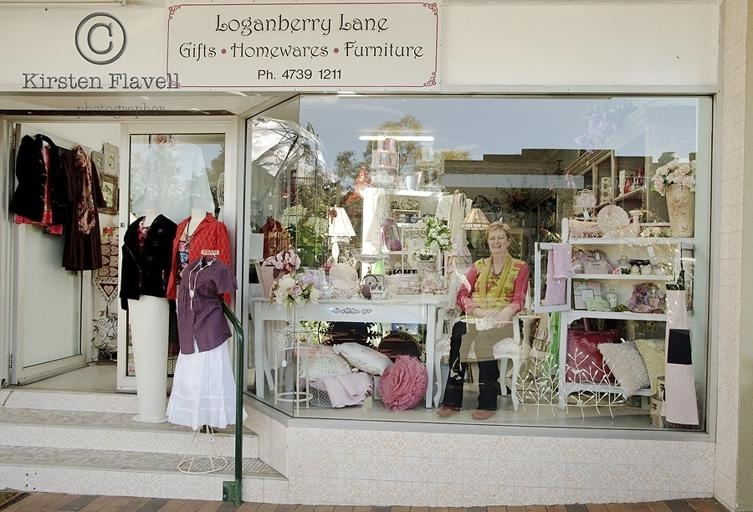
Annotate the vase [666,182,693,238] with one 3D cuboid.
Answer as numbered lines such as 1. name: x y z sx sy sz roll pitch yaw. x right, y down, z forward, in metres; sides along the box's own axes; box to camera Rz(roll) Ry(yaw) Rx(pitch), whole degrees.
1. vase: 2.718 -0.391 5.694 0.286 0.458 0.285 7 -10 -43

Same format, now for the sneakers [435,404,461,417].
1. sneakers: 0.629 1.366 5.575 0.209 0.091 0.079 3 -4 -14

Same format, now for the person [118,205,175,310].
1. person: -2.218 0.009 6.138 0.476 0.805 0.194 0 -1 12

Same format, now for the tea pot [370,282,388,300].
1. tea pot: 0.020 0.315 5.748 0.139 0.165 0.143 2 -3 0

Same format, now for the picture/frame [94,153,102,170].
1. picture/frame: -3.544 -1.223 8.015 0.061 0.225 0.288 1 0 -12

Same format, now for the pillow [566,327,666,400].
1. pillow: 2.123 0.954 5.668 0.647 0.652 0.200 2 0 14

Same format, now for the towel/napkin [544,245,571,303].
1. towel/napkin: 1.637 0.165 5.694 0.239 0.559 0.121 -1 6 -14

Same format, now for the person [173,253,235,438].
1. person: -1.531 0.735 5.581 0.566 1.483 0.290 1 -1 -18

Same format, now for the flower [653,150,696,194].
1. flower: 2.635 -0.719 5.593 0.307 0.319 0.224 23 33 24

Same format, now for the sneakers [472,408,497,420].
1. sneakers: 0.943 1.385 5.557 0.210 0.089 0.083 3 -3 -16

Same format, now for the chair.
1. chair: 1.063 0.915 5.860 0.632 1.060 0.562 0 -5 7
